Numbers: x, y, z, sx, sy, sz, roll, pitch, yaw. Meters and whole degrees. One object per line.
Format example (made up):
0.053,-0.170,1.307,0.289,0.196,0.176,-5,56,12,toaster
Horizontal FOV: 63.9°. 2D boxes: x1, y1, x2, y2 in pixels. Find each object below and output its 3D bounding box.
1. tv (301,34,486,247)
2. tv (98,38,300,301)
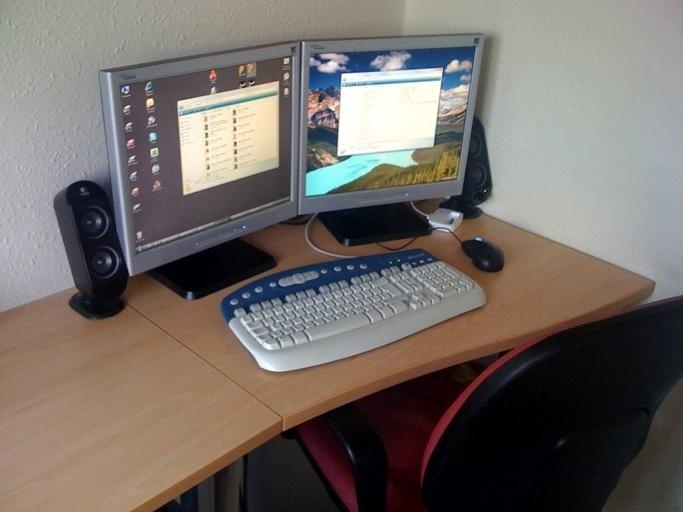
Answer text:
0.130,-0.332,1.556,0.569,0.560,0.223,-13,43,-21,tv
-0.355,-0.212,1.306,0.224,0.605,0.552,39,37,25,tv
